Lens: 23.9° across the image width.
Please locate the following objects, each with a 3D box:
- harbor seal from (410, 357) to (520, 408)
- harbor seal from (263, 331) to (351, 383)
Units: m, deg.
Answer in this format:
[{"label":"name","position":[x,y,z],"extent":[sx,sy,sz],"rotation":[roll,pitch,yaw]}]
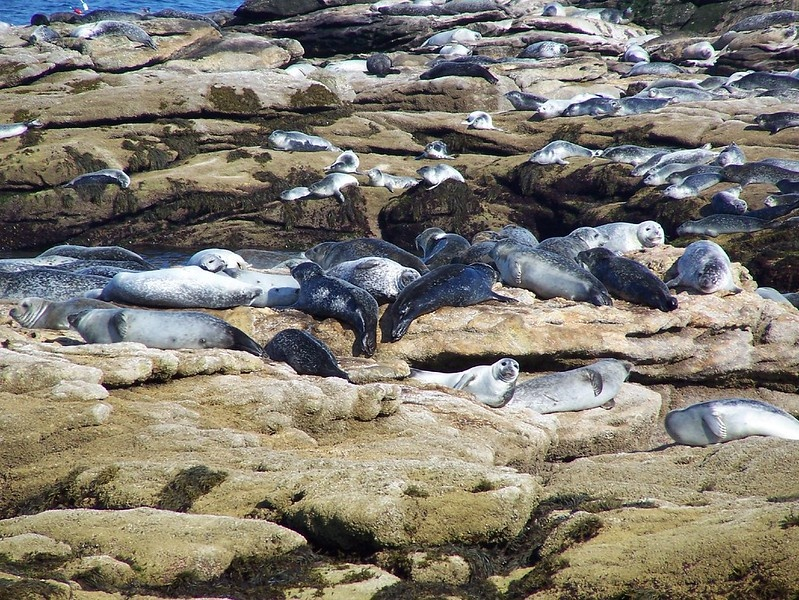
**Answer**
[{"label":"harbor seal","position":[1.554,1.828,42.515],"extent":[2.317,0.582,1.250],"rotation":[6,5,11]},{"label":"harbor seal","position":[-1.997,1.263,42.071],"extent":[1.854,0.426,1.207],"rotation":[21,25,24]}]
